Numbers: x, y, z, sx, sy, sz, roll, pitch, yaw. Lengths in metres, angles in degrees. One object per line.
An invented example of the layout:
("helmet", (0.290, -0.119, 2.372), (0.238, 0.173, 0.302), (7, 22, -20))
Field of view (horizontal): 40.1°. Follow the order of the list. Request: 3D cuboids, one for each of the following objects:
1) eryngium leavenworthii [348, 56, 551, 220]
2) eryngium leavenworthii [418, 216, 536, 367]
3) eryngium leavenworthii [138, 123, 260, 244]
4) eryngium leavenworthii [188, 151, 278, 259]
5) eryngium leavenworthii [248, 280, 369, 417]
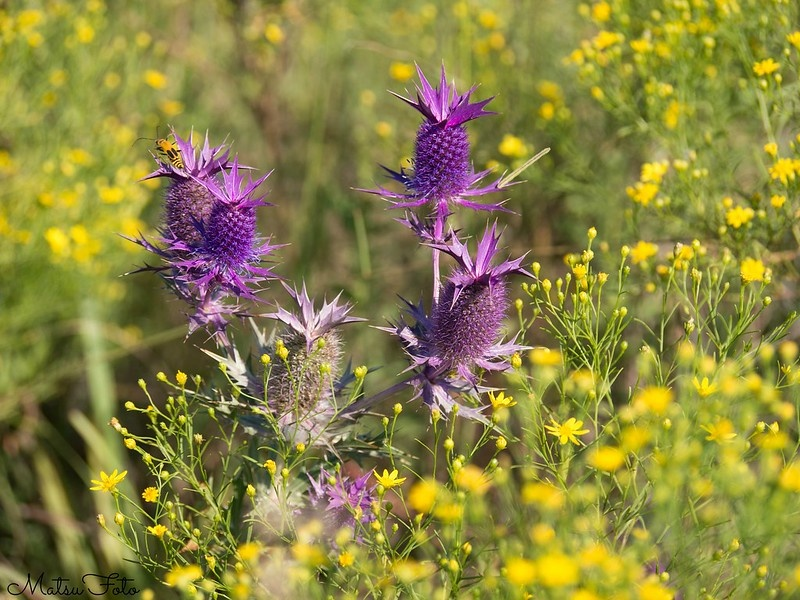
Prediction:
("eryngium leavenworthii", (0.242, -0.815, 6.036), (0.831, 0.920, 0.695), (3, 97, -2))
("eryngium leavenworthii", (0.413, -0.018, 6.037), (0.564, 0.835, 0.530), (-14, 54, -5))
("eryngium leavenworthii", (-1.142, -0.591, 6.296), (0.566, 0.594, 0.644), (8, 99, -28))
("eryngium leavenworthii", (-0.889, -0.421, 6.183), (0.531, 0.440, 0.644), (18, 93, -6))
("eryngium leavenworthii", (-0.522, 0.346, 6.309), (0.624, 1.022, 0.702), (-3, 46, -14))
